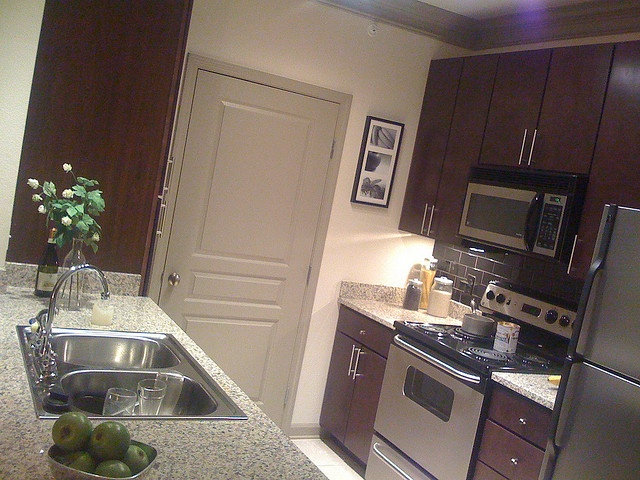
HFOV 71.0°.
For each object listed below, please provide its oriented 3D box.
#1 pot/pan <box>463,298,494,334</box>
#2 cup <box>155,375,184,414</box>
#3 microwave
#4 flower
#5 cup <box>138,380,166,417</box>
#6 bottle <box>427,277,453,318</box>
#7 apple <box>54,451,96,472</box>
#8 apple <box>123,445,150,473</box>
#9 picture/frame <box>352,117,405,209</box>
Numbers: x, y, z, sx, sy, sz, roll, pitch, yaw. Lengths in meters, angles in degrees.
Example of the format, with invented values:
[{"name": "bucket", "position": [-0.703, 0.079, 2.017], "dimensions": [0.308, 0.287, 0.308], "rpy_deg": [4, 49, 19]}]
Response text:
[{"name": "pot/pan", "position": [1.035, 0.505, 2.955], "dimensions": [0.147, 0.189, 0.271], "rpy_deg": [1, 0, 5]}, {"name": "cup", "position": [-0.512, 0.520, 1.524], "dimensions": [0.091, 0.151, 0.094], "rpy_deg": [12, 28, -6]}, {"name": "microwave", "position": [1.221, -0.168, 2.745], "dimensions": [0.362, 0.477, 0.716], "rpy_deg": [0, 12, -30]}, {"name": "flower", "position": [-1.214, -0.156, 2.138], "dimensions": [0.348, 0.412, 0.321], "rpy_deg": [7, 6, -29]}, {"name": "cup", "position": [-0.529, 0.493, 1.401], "dimensions": [0.075, 0.117, 0.073], "rpy_deg": [11, 19, -4]}, {"name": "bottle", "position": [0.933, 0.428, 3.390], "dimensions": [0.250, 0.254, 0.120], "rpy_deg": [5, 6, -40]}, {"name": "apple", "position": [-0.504, 0.454, 0.920], "dimensions": [0.047, 0.055, 0.047], "rpy_deg": [26, 48, -6]}, {"name": "apple", "position": [-0.395, 0.468, 0.964], "dimensions": [0.047, 0.051, 0.047], "rpy_deg": [8, -18, -17]}, {"name": "picture/frame", "position": [0.439, -0.596, 3.463], "dimensions": [0.345, 0.525, 0.048], "rpy_deg": [7, 5, -25]}]
